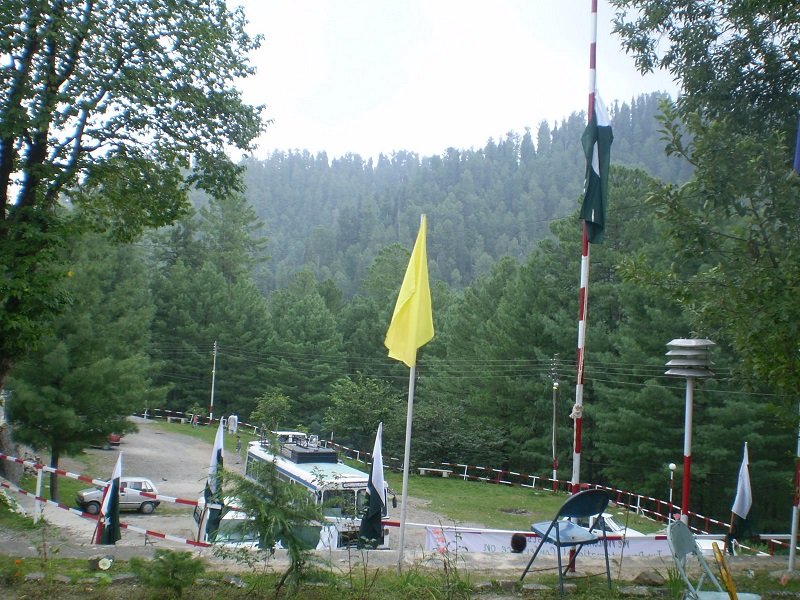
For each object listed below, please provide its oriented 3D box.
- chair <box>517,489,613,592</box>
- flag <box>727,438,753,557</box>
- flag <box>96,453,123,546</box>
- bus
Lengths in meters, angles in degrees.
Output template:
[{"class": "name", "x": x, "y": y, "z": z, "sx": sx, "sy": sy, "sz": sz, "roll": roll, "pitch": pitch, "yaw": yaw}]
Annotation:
[{"class": "chair", "x": 4.808, "y": 6.639, "z": 28.865, "sx": 2.083, "sy": 2.817, "sz": 2.947, "roll": -2, "pitch": -14, "yaw": 29}, {"class": "flag", "x": 14.540, "y": 8.451, "z": 44.744, "sx": 0.878, "sy": 6.447, "sz": 1.256, "roll": -2, "pitch": -6, "yaw": 21}, {"class": "flag", "x": -9.143, "y": 6.371, "z": 33.200, "sx": 0.771, "sy": 2.835, "sz": 2.892, "roll": 7, "pitch": -12, "yaw": -14}, {"class": "bus", "x": -2.915, "y": 6.297, "z": 35.934, "sx": 5.563, "sy": 4.585, "sz": 3.728, "roll": 0, "pitch": -5, "yaw": -20}]
